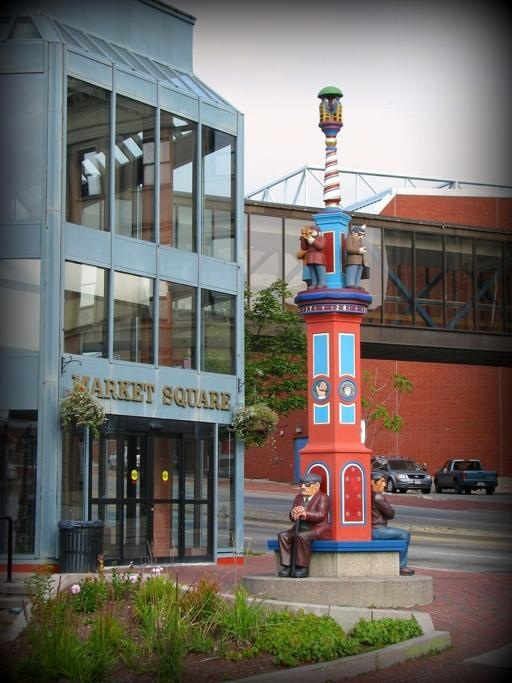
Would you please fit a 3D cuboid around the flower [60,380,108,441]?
[{"bbox_3d":[-2.855,1.135,15.339,0.625,0.916,0.964,-2,-3,19],"label":"flower"}]

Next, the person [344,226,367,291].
[{"bbox_3d":[1.377,-1.175,12.878,0.294,0.920,0.565,-1,-3,7],"label":"person"}]

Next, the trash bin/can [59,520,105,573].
[{"bbox_3d":[-2.728,3.225,14.404,0.666,0.745,0.514,0,-3,-15],"label":"trash bin/can"}]

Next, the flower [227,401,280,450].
[{"bbox_3d":[-0.051,1.721,18.670,0.794,0.931,0.927,0,-12,4],"label":"flower"}]

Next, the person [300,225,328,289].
[{"bbox_3d":[0.766,-1.168,12.705,0.389,0.906,0.495,-1,-3,3],"label":"person"}]

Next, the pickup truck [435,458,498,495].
[{"bbox_3d":[9.797,6.396,43.854,1.461,1.378,2.949,2,-1,-14],"label":"pickup truck"}]

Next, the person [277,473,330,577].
[{"bbox_3d":[0.552,2.263,11.316,0.424,1.155,0.878,-3,-4,32],"label":"person"}]
